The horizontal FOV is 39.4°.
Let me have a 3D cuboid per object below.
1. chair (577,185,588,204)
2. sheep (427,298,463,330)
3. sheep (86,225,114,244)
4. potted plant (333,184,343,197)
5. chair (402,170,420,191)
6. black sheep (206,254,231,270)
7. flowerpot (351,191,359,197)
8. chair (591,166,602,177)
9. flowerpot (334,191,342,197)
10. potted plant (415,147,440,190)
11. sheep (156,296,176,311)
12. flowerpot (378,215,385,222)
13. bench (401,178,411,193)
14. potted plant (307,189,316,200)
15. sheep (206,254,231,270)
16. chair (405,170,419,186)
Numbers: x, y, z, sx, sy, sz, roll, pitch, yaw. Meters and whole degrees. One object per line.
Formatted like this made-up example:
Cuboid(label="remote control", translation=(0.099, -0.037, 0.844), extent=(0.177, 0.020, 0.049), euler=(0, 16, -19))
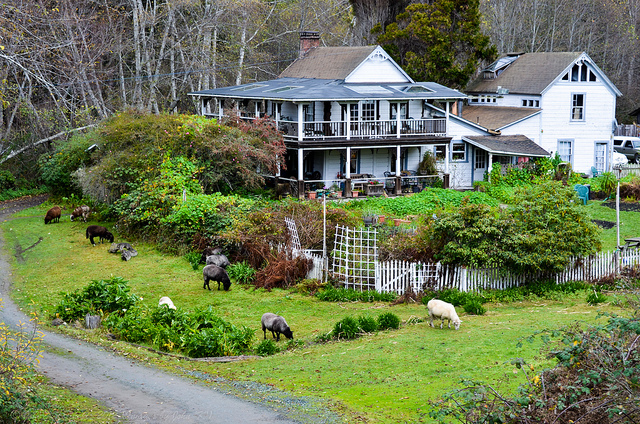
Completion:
Cuboid(label="chair", translation=(17.604, -1.309, 59.756), extent=(0.653, 0.844, 0.709), euler=(1, 1, 19))
Cuboid(label="sheep", translation=(5.780, 4.764, 41.661), extent=(1.548, 1.283, 0.862), euler=(1, 1, 19))
Cuboid(label="sheep", translation=(-13.300, 1.231, 52.479), extent=(2.096, 1.490, 0.730), euler=(0, 25, -14))
Cuboid(label="potted plant", translation=(1.140, -1.451, 59.849), extent=(0.691, 0.694, 0.676), euler=(-3, 3, -44))
Cuboid(label="chair", translation=(6.360, -2.422, 63.381), extent=(1.003, 1.430, 0.889), euler=(-6, 10, -38))
Cuboid(label="black sheep", translation=(-5.536, 2.653, 47.665), extent=(1.483, 0.848, 0.483), euler=(2, 18, -43))
Cuboid(label="flowerpot", translation=(2.288, -1.204, 59.869), extent=(0.320, 0.384, 0.632), euler=(1, 1, 31))
Cuboid(label="chair", translation=(21.405, -3.115, 68.870), extent=(0.543, 0.838, 0.593), euler=(-2, 0, -37))
Cuboid(label="flowerpot", translation=(1.234, -1.222, 59.211), extent=(0.281, 0.360, 0.500), euler=(1, 4, -7))
Cuboid(label="potted plant", translation=(7.666, -3.152, 63.100), extent=(1.549, 2.957, 2.380), euler=(1, 1, 7))
Cuboid(label="sheep", translation=(-7.315, 4.283, 42.174), extent=(0.638, 0.335, 0.852), euler=(20, -10, 12))
Cuboid(label="flowerpot", translation=(3.626, 0.380, 52.908), extent=(0.367, 0.330, 0.603), euler=(1, 1, -1))
Cuboid(label="bench", translation=(6.008, -1.869, 62.284), extent=(0.618, 1.030, 1.692), euler=(1, 1, 5))
Cuboid(label="potted plant", translation=(-0.590, -1.092, 59.081), extent=(0.505, 0.393, 0.488), euler=(2, 2, -7))
Cuboid(label="sheep", translation=(-5.496, 2.664, 47.666), extent=(1.572, 0.896, 0.497), euler=(4, 18, -46))
Cuboid(label="chair", translation=(6.484, -2.474, 63.268), extent=(0.923, 1.070, 1.749), euler=(1, 1, 6))
